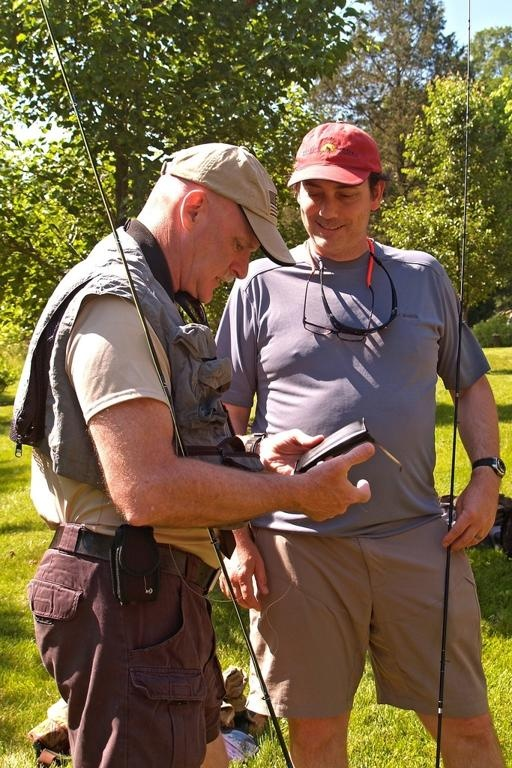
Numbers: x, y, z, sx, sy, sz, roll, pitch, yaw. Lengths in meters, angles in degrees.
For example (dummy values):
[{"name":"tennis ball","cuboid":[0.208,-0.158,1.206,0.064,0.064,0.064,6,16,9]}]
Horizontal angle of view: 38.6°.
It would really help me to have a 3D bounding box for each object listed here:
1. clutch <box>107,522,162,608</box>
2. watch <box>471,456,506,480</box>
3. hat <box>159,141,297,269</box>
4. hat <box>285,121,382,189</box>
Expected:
[{"name":"clutch","cuboid":[-0.254,0.374,1.518,0.098,0.173,0.052,-4,6,-12]},{"name":"watch","cuboid":[0.770,0.267,2.424,0.106,0.062,0.106,-6,-31,23]},{"name":"hat","cuboid":[-0.037,-0.473,1.803,0.422,0.221,0.260,27,10,12]},{"name":"hat","cuboid":[0.276,-0.806,2.518,0.305,0.215,0.403,8,23,22]}]
